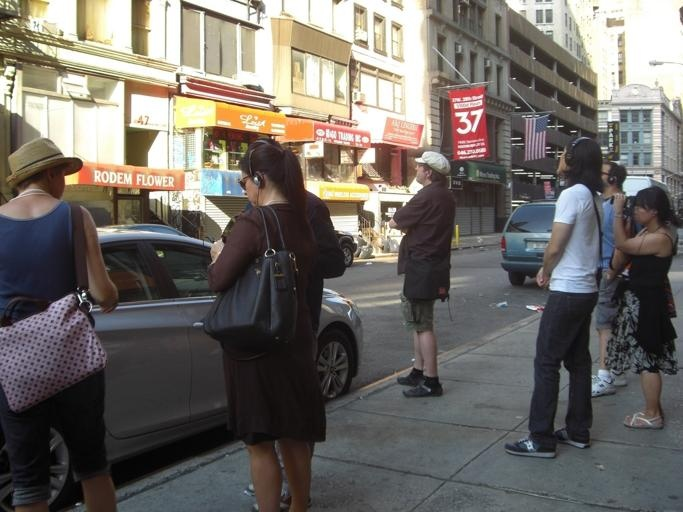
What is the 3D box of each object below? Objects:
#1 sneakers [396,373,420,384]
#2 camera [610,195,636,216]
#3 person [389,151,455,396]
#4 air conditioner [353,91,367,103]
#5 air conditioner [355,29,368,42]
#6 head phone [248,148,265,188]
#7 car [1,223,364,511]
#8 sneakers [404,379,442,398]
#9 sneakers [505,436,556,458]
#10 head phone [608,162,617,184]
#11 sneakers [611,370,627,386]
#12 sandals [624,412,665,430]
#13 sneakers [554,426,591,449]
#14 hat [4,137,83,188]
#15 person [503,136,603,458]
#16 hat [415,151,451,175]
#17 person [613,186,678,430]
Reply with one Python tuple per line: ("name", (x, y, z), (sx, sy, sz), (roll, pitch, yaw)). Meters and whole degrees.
("sneakers", (0.716, 1.328, 6.674), (0.260, 0.129, 0.094), (3, 0, 17))
("camera", (2.658, -0.453, 5.763), (0.209, 0.261, 0.118), (-1, 1, 1))
("person", (0.821, 0.190, 6.251), (0.632, 2.426, 0.332), (-1, 3, 4))
("air conditioner", (0.915, -8.936, 34.223), (0.505, 0.724, 1.005), (0, 4, 14))
("air conditioner", (1.080, -12.287, 34.610), (0.338, 0.710, 1.018), (0, 4, 28))
("head phone", (-0.495, -0.503, 3.552), (0.044, 0.172, 0.158), (0, -6, 10))
("car", (-1.271, 0.669, 5.437), (2.740, 1.279, 1.217), (-6, 2, -43))
("sneakers", (0.831, 1.344, 6.202), (0.438, 0.219, 0.160), (2, -4, 4))
("sneakers", (1.427, 1.469, 4.769), (0.387, 0.200, 0.154), (4, -7, 12))
("head phone", (2.673, -0.822, 6.151), (0.077, 0.195, 0.135), (1, -4, 10))
("sneakers", (2.904, 1.289, 6.479), (0.115, 0.169, 0.370), (2, 4, 13))
("sandals", (2.552, 1.396, 5.234), (0.231, 0.097, 0.138), (4, 3, 20))
("sneakers", (1.817, 1.463, 4.924), (0.129, 0.138, 0.278), (-2, 10, -40))
("hat", (-1.677, -0.576, 3.465), (0.293, 0.146, 0.343), (-29, 6, 44))
("person", (1.736, 0.301, 4.861), (0.862, 2.442, 0.318), (-3, 4, -29))
("hat", (0.934, -0.933, 6.269), (0.358, 0.232, 0.369), (-2, 3, -4))
("person", (2.585, 0.432, 5.340), (0.530, 2.011, 0.459), (0, 4, 30))
